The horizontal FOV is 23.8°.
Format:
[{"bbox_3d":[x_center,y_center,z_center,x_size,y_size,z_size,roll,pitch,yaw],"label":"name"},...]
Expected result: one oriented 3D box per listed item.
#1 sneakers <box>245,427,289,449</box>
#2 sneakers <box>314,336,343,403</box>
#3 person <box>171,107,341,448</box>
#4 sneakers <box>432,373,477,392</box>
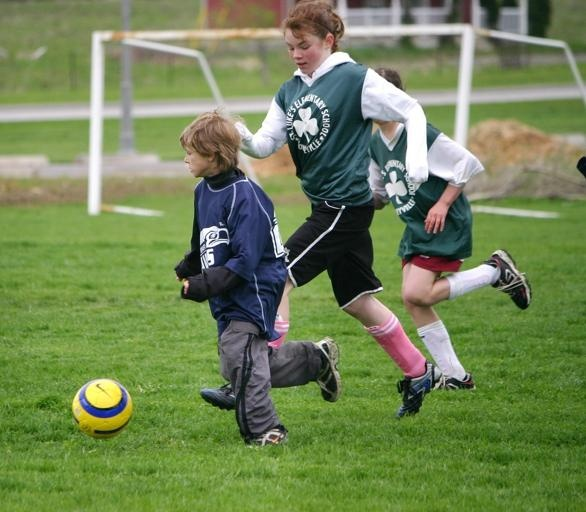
[{"bbox_3d":[-0.137,1.058,8.192,0.185,0.065,0.115,-9,6,-15],"label":"sneakers"},{"bbox_3d":[0.240,0.703,8.593,0.130,0.408,0.178,10,25,44],"label":"sneakers"},{"bbox_3d":[-0.228,0.132,8.247,0.930,1.881,0.630,-1,14,-6],"label":"person"},{"bbox_3d":[1.050,0.825,8.980,0.282,0.137,0.107,7,-5,-6],"label":"sneakers"}]
